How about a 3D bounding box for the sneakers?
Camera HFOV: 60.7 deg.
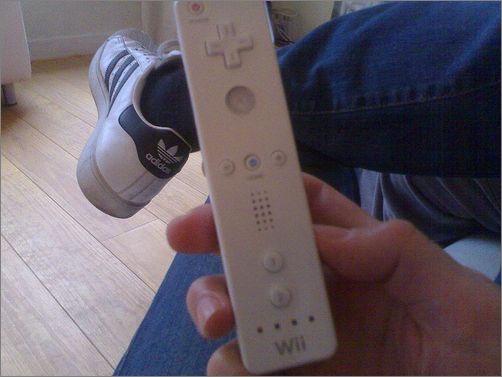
[{"bbox_3d":[-0.208,-0.230,0.919,0.175,0.214,0.520,24,38,-28],"label":"sneakers"}]
